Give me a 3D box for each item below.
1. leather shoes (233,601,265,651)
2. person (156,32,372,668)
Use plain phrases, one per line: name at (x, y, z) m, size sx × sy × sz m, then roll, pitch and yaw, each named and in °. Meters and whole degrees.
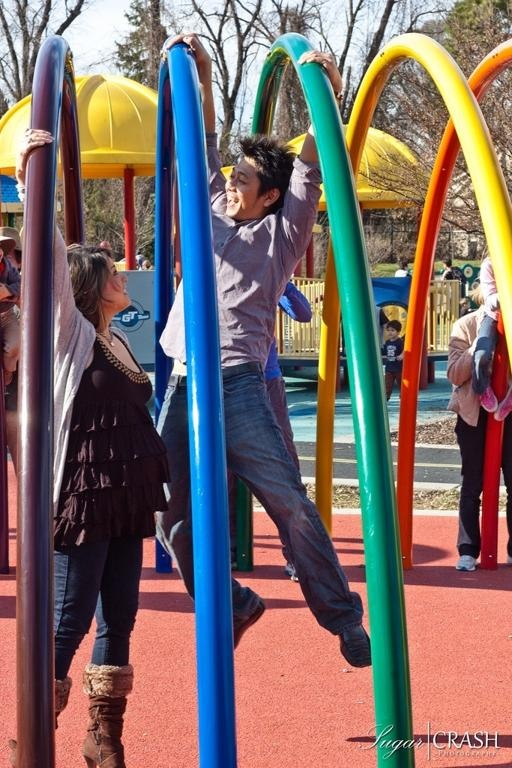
leather shoes at (-0.007, 0.752, 2.901) m, size 0.059 × 0.168 × 0.118 m, roll 28°, pitch -36°, yaw -24°
person at (-0.019, -0.104, 2.841) m, size 0.567 × 1.980 × 0.965 m, roll -3°, pitch 5°, yaw -23°
